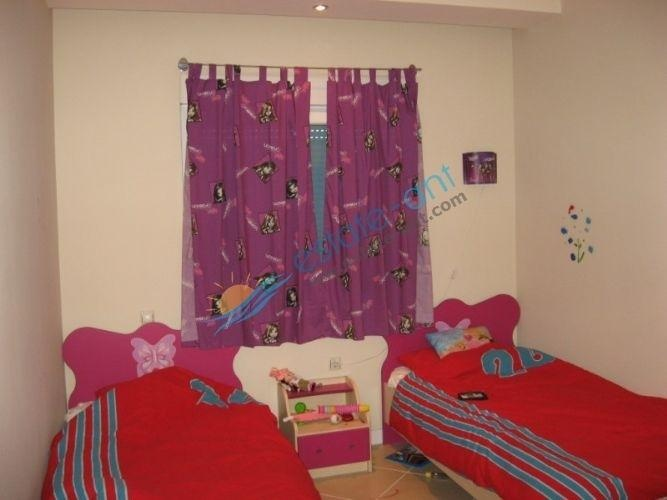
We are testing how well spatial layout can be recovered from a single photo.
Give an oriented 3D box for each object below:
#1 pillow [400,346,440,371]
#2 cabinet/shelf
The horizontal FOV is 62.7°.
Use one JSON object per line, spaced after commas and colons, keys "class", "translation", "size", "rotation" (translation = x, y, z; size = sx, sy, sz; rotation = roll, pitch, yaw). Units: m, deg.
{"class": "pillow", "translation": [0.708, 0.867, 4.385], "size": [0.170, 0.060, 0.189], "rotation": [-17, 21, -14]}
{"class": "cabinet/shelf", "translation": [-0.072, 1.357, 4.224], "size": [0.626, 0.654, 0.477], "rotation": [-1, 4, -27]}
